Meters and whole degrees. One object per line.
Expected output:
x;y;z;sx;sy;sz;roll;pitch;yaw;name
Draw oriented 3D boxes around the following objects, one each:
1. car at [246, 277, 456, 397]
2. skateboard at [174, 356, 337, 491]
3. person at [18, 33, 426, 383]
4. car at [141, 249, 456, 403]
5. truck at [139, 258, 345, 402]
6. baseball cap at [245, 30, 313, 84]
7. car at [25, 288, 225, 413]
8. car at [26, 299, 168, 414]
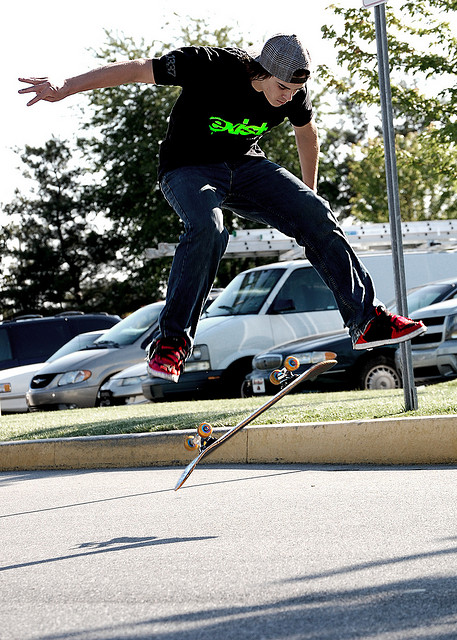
1.337;0.231;9.794;2.869;0.928;1.186;-2;-4;-15;car
0.228;0.742;6.441;1.152;0.159;0.273;-35;-15;-8;skateboard
-0.061;-0.539;3.988;2.189;1.355;0.863;-4;15;-20;person
1.081;0.026;11.677;4.291;1.611;1.957;-1;-1;-16;car
0.880;0.073;11.735;4.013;1.702;1.833;-6;1;-22;truck
0.221;-1.180;3.823;0.323;0.162;0.216;36;29;31;baseball cap
-1.144;0.457;12.159;3.047;1.156;1.523;-3;-2;-21;car
-1.956;0.545;12.091;2.752;1.102;1.532;-6;-5;-28;car
